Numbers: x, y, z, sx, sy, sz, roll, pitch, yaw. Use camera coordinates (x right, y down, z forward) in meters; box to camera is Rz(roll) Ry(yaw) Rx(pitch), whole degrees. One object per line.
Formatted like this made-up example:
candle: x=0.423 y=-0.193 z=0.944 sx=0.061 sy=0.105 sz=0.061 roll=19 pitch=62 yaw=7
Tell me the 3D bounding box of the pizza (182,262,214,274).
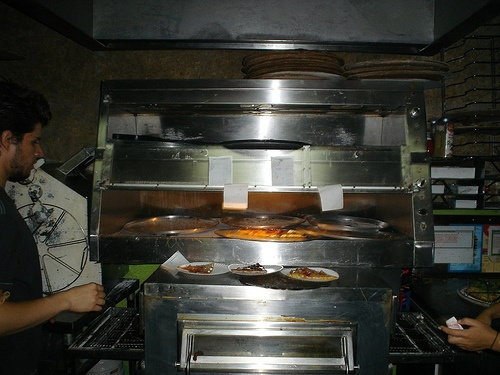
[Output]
pizza: x=-0.358 y=0.542 z=2.949 sx=0.228 sy=0.059 sz=0.125 roll=3 pitch=1 yaw=-7
